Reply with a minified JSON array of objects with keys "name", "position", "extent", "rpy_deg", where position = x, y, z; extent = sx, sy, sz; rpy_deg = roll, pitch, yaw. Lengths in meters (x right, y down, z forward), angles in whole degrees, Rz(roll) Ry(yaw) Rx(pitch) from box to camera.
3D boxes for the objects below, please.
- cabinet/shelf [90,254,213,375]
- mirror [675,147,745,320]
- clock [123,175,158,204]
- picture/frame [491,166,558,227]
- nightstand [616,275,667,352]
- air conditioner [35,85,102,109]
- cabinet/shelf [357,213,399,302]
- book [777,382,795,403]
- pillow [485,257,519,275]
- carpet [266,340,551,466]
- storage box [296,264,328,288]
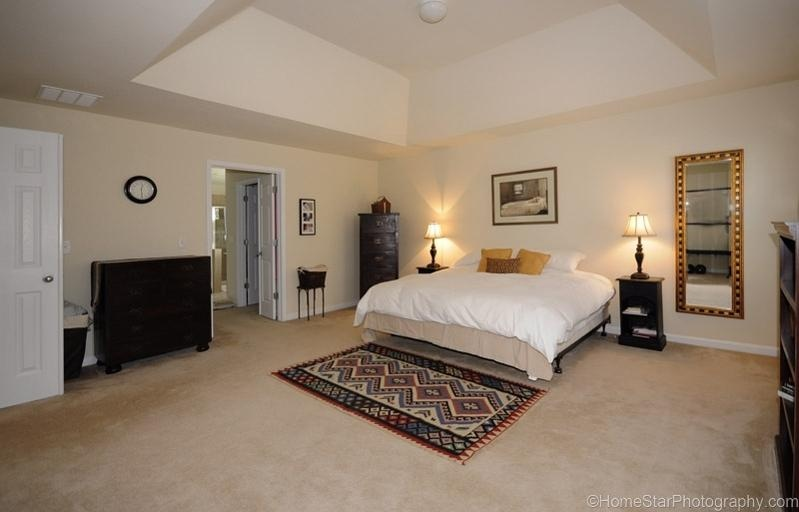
[{"name":"cabinet/shelf","position":[-3.167,0.756,6.403],"extent":[0.471,1.376,1.436],"rpy_deg":[-1,0,44]},{"name":"mirror","position":[4.008,-0.276,6.591],"extent":[0.796,2.080,0.168],"rpy_deg":[3,5,40]},{"name":"clock","position":[-3.465,-0.875,6.860],"extent":[0.358,0.355,0.354],"rpy_deg":[16,-9,-43]},{"name":"picture/frame","position":[1.968,-0.921,7.850],"extent":[0.979,0.774,0.037],"rpy_deg":[1,0,33]},{"name":"nightstand","position":[3.257,0.746,6.848],"extent":[0.585,0.911,0.457],"rpy_deg":[2,4,27]},{"name":"air conditioner","position":[-3.951,-1.897,6.119],"extent":[0.622,0.131,0.490],"rpy_deg":[-2,4,-35]},{"name":"cabinet/shelf","position":[-0.378,-0.087,9.053],"extent":[0.689,1.582,0.545],"rpy_deg":[-2,28,-5]},{"name":"book","position":[3.320,1.174,4.386],"extent":[0.101,0.164,0.133],"rpy_deg":[3,5,36]},{"name":"pillow","position":[1.511,0.154,7.441],"extent":[0.329,0.244,0.098],"rpy_deg":[-9,-12,13]},{"name":"carpet","position":[0.151,1.583,5.778],"extent":[2.627,0.559,1.411],"rpy_deg":[2,4,31]},{"name":"storage box","position":[-1.437,0.363,8.349],"extent":[0.322,0.360,0.510],"rpy_deg":[-4,-4,39]}]
